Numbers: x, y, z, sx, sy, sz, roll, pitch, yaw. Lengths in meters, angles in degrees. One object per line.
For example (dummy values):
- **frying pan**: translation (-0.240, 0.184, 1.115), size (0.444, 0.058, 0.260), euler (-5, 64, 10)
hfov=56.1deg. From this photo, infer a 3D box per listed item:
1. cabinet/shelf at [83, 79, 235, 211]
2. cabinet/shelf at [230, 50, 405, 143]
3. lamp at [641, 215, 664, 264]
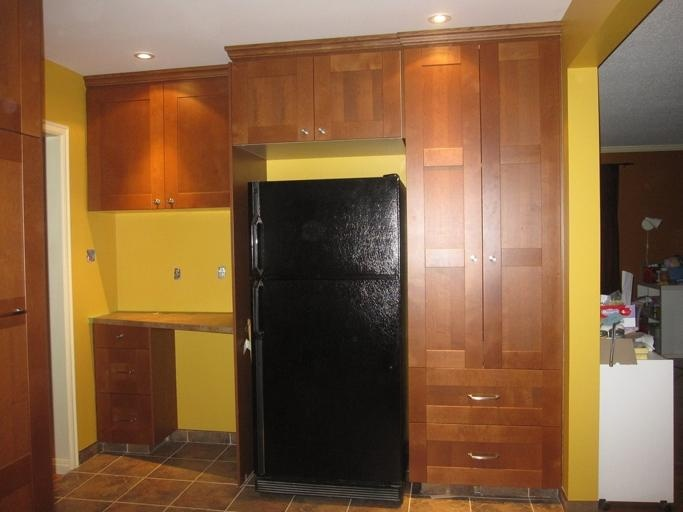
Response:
- **cabinet/shelf**: translation (-1.380, -0.905, 4.905), size (1.155, 0.986, 0.433), euler (-7, 25, -25)
- **cabinet/shelf**: translation (-0.138, -1.064, 4.419), size (1.178, 0.583, 0.410), euler (1, 6, 18)
- **lamp**: translation (2.637, -0.132, 5.453), size (0.158, 0.430, 0.059), euler (-1, 0, 21)
